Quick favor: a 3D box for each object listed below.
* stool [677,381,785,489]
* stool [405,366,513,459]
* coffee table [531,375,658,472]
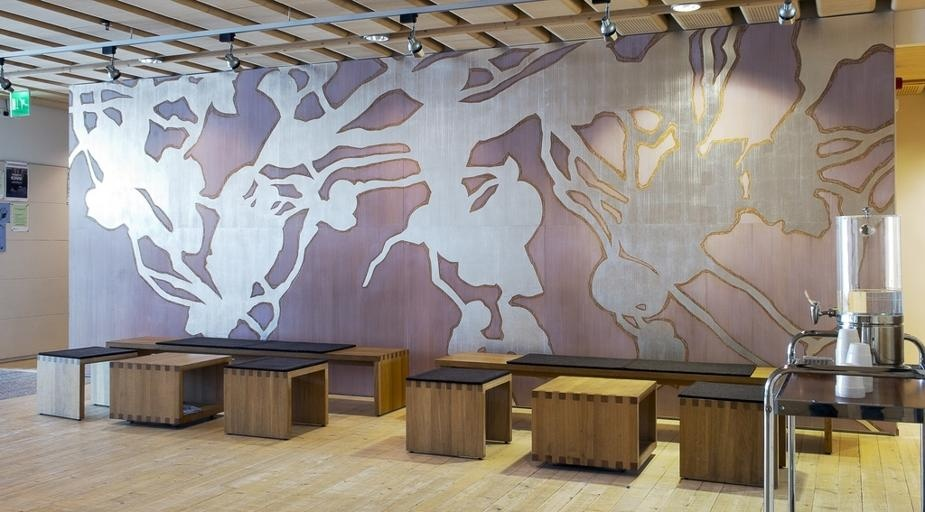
[{"bbox_3d":[2.801,1.726,6.928,1.049,0.933,1.013,-1,-4,23],"label":"stool"},{"bbox_3d":[-0.028,1.700,7.452,1.054,0.846,0.706,2,11,13],"label":"stool"},{"bbox_3d":[1.392,1.712,7.167,1.050,0.727,1.044,-1,-1,19],"label":"coffee table"}]
